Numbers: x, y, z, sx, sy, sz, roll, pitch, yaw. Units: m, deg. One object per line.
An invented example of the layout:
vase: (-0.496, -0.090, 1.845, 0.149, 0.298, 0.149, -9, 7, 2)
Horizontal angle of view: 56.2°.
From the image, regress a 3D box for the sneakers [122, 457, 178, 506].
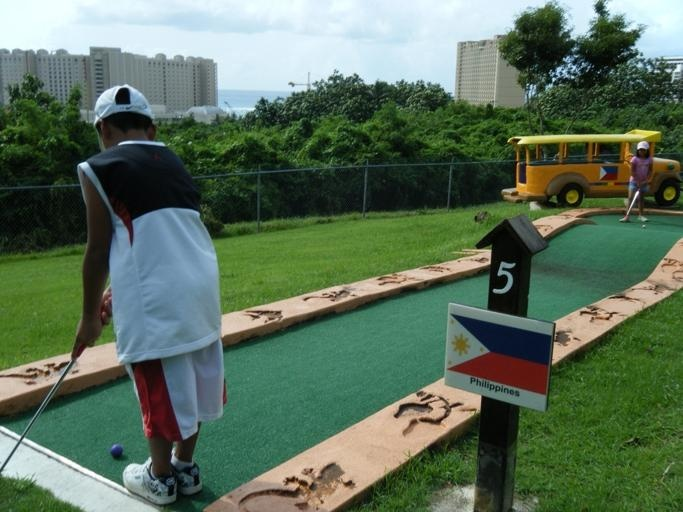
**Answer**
sneakers: (-1.254, 1.481, 4.247, 0.416, 0.215, 0.199, 22, 3, 30)

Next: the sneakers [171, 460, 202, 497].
sneakers: (-1.030, 1.466, 4.273, 0.109, 0.151, 0.291, -1, 10, -40)

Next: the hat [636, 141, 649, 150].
hat: (6.137, -2.260, 12.972, 0.193, 0.155, 0.504, 3, 13, 23)

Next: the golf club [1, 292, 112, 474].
golf club: (-2.336, 1.067, 5.232, 0.155, 1.349, 0.218, 33, -7, 12)

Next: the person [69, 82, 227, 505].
person: (-1.205, 0.277, 4.058, 0.834, 2.679, 0.522, -1, 11, 6)

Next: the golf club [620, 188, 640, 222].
golf club: (6.393, -1.146, 14.158, 0.098, 1.023, 0.161, 22, -8, -16)

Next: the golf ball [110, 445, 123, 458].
golf ball: (-1.617, 1.399, 4.635, 0.067, 0.076, 0.086, 23, 3, 11)
